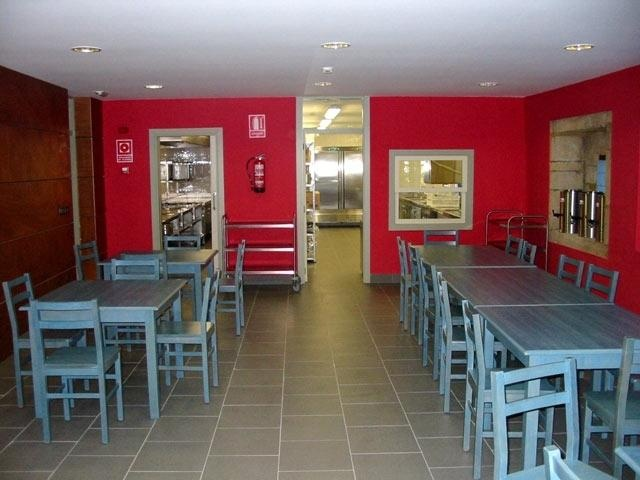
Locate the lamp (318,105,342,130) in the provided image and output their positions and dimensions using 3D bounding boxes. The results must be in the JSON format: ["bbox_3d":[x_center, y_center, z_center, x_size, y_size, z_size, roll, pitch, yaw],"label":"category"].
[{"bbox_3d":[0.146,-2.058,8.381,0.379,0.360,0.214,0,11,2],"label":"lamp"}]

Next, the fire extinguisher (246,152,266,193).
[{"bbox_3d":[-1.084,-1.119,8.326,0.329,0.623,0.209,-1,11,-2],"label":"fire extinguisher"}]
